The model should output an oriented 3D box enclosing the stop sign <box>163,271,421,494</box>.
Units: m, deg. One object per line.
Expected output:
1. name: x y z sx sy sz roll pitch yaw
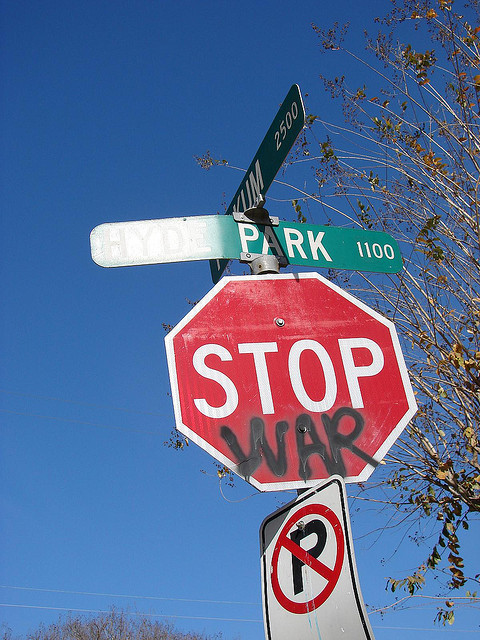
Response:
1. stop sign: 0.212 0.272 4.357 0.992 1.063 0.086 1 -37 -11
